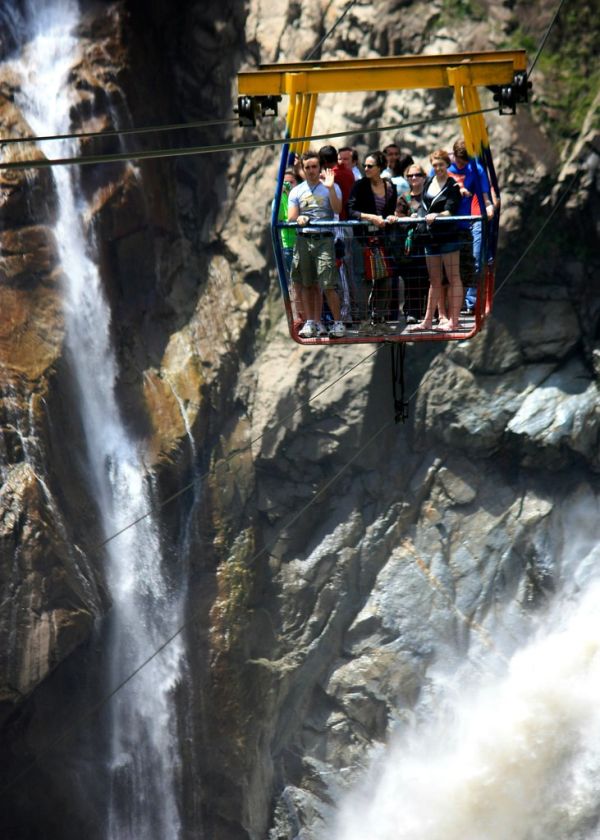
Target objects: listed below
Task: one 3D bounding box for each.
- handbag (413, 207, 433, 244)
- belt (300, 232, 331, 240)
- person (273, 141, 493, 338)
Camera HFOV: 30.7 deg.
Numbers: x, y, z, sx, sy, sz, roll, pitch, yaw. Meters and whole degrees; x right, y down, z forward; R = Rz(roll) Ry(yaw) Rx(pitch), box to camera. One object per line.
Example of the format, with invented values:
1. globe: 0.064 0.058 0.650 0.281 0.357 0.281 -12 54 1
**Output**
1. handbag: 1.105 -1.766 10.073 0.093 0.331 0.198 -4 -7 -39
2. belt: 0.131 -1.711 10.132 0.314 0.090 0.051 2 14 2
3. person: 0.781 -1.625 10.210 1.318 1.549 0.605 -2 13 6
